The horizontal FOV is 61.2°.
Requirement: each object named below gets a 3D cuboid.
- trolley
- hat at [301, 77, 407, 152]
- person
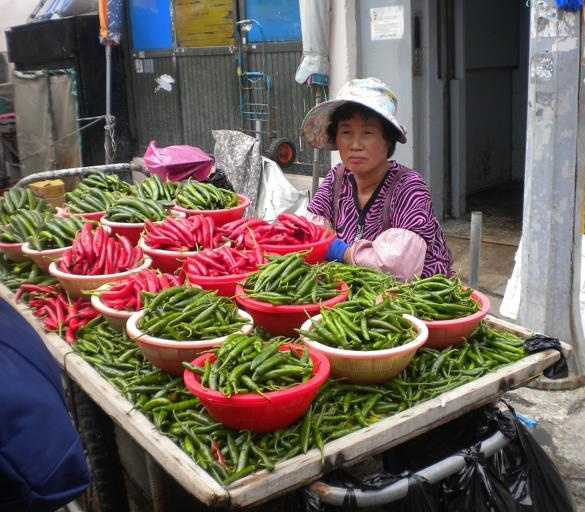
[{"bbox_3d":[-0.584,-2.751,8.519,0.784,2.978,0.823,-14,20,-42],"label":"trolley"},{"bbox_3d":[0.468,-0.962,3.219,0.624,0.374,0.678,4,-9,41],"label":"hat"},{"bbox_3d":[0.546,-0.475,3.342,0.927,1.351,1.077,-13,18,-39],"label":"person"}]
